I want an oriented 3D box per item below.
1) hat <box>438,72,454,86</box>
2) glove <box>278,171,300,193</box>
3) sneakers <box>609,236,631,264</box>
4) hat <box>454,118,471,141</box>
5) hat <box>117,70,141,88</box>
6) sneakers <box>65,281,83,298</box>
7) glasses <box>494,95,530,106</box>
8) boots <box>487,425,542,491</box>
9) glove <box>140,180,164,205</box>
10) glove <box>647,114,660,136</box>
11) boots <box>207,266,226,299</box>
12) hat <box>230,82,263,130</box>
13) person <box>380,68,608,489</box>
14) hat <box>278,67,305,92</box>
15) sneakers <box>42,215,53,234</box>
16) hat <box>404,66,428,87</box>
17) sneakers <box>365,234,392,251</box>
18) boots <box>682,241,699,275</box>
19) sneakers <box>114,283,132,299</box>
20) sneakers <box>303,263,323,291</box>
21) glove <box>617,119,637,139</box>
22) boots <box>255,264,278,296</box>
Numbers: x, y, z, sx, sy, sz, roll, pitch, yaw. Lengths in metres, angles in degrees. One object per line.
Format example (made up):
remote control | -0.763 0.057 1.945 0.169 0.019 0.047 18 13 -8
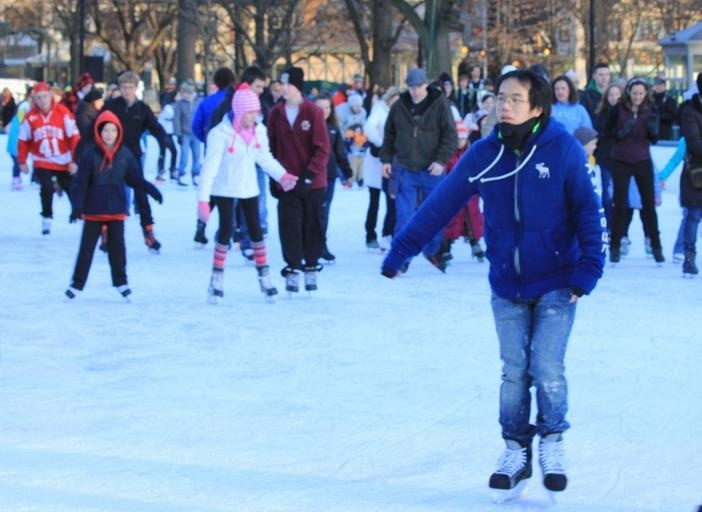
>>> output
hat | 2.050 -3.822 20.136 0.272 0.344 0.469 -1 -6 3
glove | -0.676 -0.772 9.837 0.213 0.214 0.335 -1 11 -5
sneakers | 3.520 -0.078 12.218 0.183 0.288 0.654 3 22 20
hat | 1.464 -1.684 12.443 0.260 0.368 0.366 -1 5 -10
hat | -2.959 -2.375 12.307 0.218 0.267 0.294 -2 -2 -7
sneakers | -2.943 0.366 9.896 0.125 0.117 0.216 20 13 -1
glasses | 0.941 -0.924 5.514 0.196 0.050 0.058 7 13 33
boots | 0.964 1.237 5.620 0.138 0.289 0.456 -7 -1 35
glove | -2.168 -0.694 10.105 0.184 0.248 0.403 -3 11 -14
glove | 3.664 -1.583 11.347 0.161 0.252 0.081 3 -5 -34
boots | -1.435 0.282 9.833 0.136 0.354 0.220 -1 9 -2
hat | -1.096 -1.547 9.661 0.281 0.491 0.345 2 -13 -40
person | 0.955 0.136 5.618 1.100 2.467 0.547 2 9 16
hat | -0.604 -1.882 9.958 0.204 0.260 0.275 5 6 39
sneakers | -4.722 -0.497 14.394 0.165 0.300 0.393 -4 11 -19
hat | 0.790 -2.152 11.221 0.190 0.157 0.278 -8 14 12
sneakers | 0.380 -0.176 13.256 0.156 0.208 0.452 -1 -3 -9
boots | 4.082 0.041 11.196 0.180 0.331 0.450 3 11 20
sneakers | -2.447 0.364 10.026 0.150 0.188 0.326 -3 11 -14
sneakers | -0.436 0.241 10.271 0.192 0.320 0.195 0 9 0
glove | 3.349 -1.560 11.345 0.224 0.267 0.141 -4 10 -18
boots | -0.931 0.261 9.997 0.201 0.351 0.383 -6 11 -30
